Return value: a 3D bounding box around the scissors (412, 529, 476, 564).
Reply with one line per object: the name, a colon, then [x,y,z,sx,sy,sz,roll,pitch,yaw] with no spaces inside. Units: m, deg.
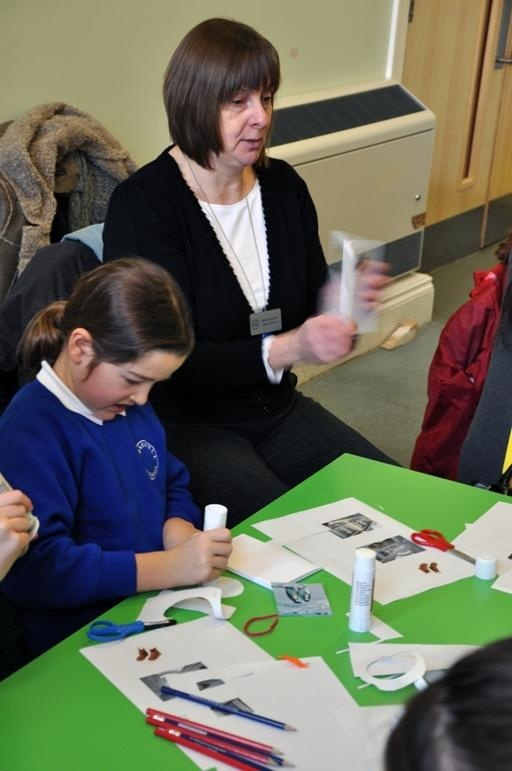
scissors: [0.339,0.287,1.174,0.041,0.008,0.105,-14,23,-36]
